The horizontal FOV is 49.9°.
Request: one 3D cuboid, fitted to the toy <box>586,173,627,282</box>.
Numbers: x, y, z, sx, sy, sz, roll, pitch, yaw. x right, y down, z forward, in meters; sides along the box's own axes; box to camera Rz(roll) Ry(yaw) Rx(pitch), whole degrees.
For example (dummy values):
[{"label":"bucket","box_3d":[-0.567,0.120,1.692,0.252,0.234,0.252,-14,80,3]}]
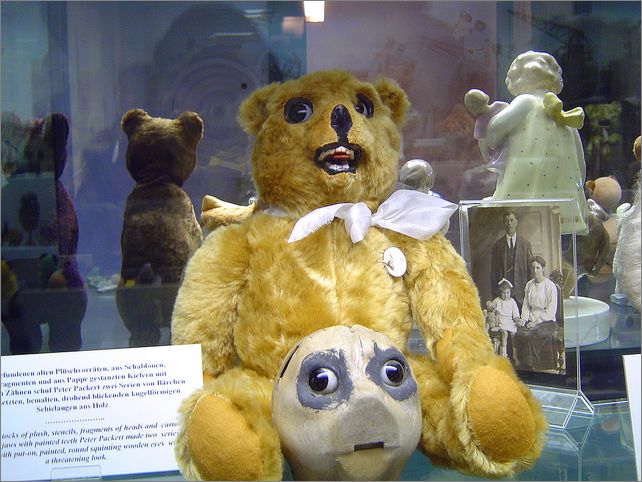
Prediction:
[{"label":"toy","box_3d":[0.742,-0.039,1.802,0.130,0.249,0.058,-2,-1,-15]}]
